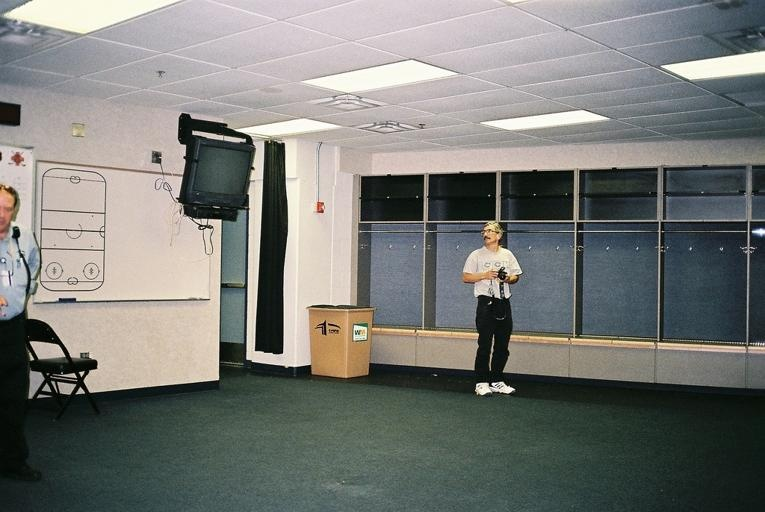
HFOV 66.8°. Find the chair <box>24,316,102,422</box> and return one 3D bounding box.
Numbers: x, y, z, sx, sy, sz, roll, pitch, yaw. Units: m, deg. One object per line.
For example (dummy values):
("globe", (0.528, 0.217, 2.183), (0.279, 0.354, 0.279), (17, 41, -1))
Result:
("chair", (-3.684, 1.274, 6.707), (0.714, 0.971, 0.778), (-1, -6, 12))

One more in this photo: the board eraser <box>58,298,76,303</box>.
("board eraser", (-3.820, 0.533, 7.048), (0.185, 0.064, 0.014), (0, 2, -37))

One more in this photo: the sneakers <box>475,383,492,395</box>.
("sneakers", (1.368, 1.815, 7.879), (0.142, 0.087, 0.205), (0, -12, -11))

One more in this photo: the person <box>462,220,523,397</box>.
("person", (1.487, 0.708, 8.019), (0.743, 2.383, 0.633), (1, 2, 12))

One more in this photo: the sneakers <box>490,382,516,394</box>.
("sneakers", (1.653, 1.830, 8.064), (0.298, 0.104, 0.159), (0, -5, 10))

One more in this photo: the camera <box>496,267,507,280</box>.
("camera", (1.592, 0.230, 7.777), (0.105, 0.173, 0.224), (2, 2, 26))
